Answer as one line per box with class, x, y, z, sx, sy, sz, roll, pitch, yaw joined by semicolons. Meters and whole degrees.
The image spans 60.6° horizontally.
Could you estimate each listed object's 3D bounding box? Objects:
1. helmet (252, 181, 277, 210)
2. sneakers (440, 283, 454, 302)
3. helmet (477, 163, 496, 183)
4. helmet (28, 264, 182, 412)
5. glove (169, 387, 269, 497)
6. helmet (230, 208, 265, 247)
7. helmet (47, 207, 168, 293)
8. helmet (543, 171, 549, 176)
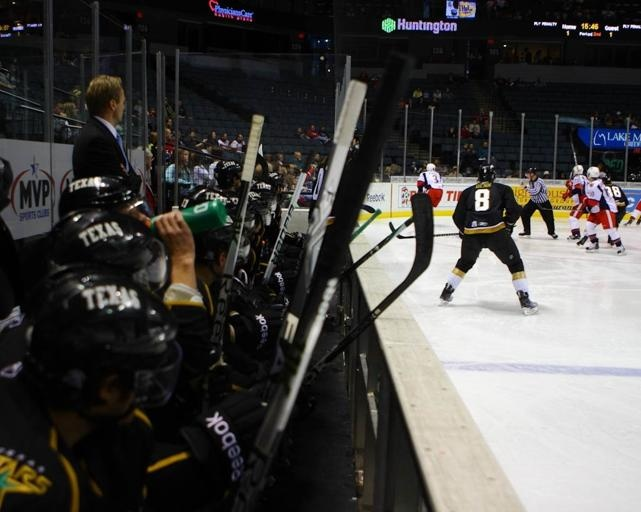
helmet;-0.548;-0.617;5.309;0.242;0.354;0.334;3;19;3
sneakers;1.283;0.392;5.579;0.085;0.127;0.278;3;10;18
helmet;1.932;-0.971;6.382;0.168;0.233;0.228;5;17;19
helmet;-0.446;0.162;1.199;0.284;0.258;0.237;11;20;-20
glove;-0.288;0.489;1.575;0.193;0.294;0.255;13;-9;38
helmet;-0.467;-0.192;3.719;0.196;0.323;0.285;3;0;3
helmet;-0.595;-0.042;1.564;0.265;0.266;0.229;1;24;-3
helmet;7.239;-2.642;17.555;0.131;0.109;0.196;2;2;-5
